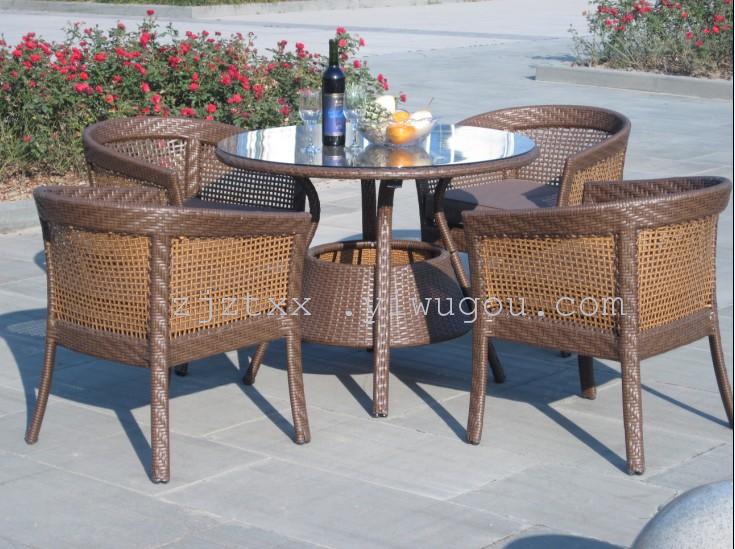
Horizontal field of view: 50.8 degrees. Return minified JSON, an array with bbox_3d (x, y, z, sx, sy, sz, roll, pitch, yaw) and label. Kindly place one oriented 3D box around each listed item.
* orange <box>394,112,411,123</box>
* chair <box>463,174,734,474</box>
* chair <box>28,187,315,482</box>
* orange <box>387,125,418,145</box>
[{"bbox_3d":[0.172,-0.750,3.655,0.104,0.033,0.075,-1,16,0],"label":"orange"},{"bbox_3d":[0.973,0.141,3.132,1.018,1.023,1.096,14,28,35],"label":"chair"},{"bbox_3d":[-0.789,0.190,3.001,1.080,1.051,0.889,0,24,8],"label":"chair"},{"bbox_3d":[0.156,-0.648,3.522,0.162,0.066,0.111,4,26,8],"label":"orange"}]
